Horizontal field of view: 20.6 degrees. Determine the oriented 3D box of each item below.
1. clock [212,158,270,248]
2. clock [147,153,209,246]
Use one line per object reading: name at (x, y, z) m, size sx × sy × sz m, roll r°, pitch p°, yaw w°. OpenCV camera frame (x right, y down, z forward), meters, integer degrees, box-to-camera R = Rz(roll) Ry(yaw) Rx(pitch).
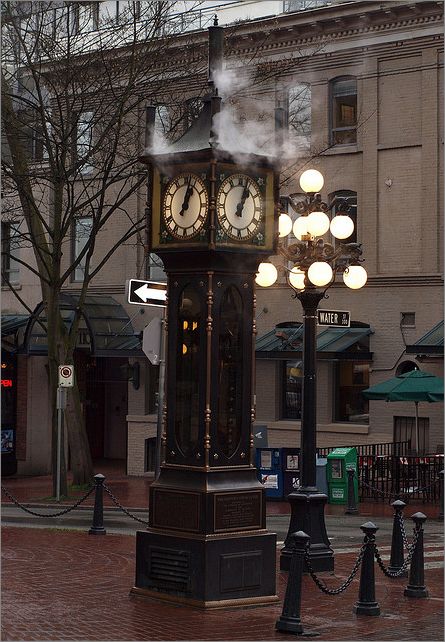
clock at (0.149, -1.041, 10.896) m, size 0.050 × 0.788 × 0.782 m, roll -5°, pitch -8°, yaw 37°
clock at (-0.367, -1.072, 10.910) m, size 0.823 × 0.974 × 0.065 m, roll -2°, pitch -6°, yaw 42°
